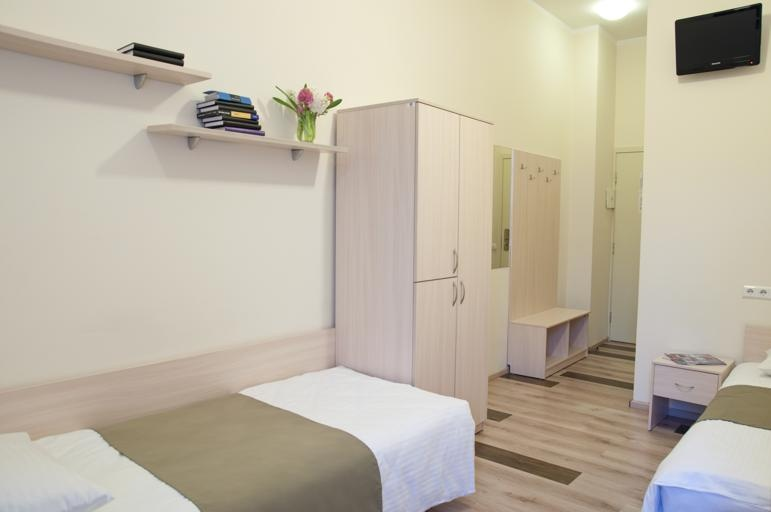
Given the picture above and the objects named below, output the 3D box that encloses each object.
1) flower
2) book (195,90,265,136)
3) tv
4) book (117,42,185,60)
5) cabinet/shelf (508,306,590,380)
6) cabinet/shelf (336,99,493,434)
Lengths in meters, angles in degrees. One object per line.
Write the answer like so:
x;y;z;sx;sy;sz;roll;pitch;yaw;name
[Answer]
-0.557;-0.999;3.516;0.460;0.383;0.212;1;9;-5;flower
-0.990;-0.832;3.168;0.277;0.254;0.390;-8;-7;42;book
2.769;-1.794;4.096;0.693;0.499;0.073;2;5;37;tv
-1.345;-1.169;2.822;0.231;0.046;0.223;-2;8;-31;book
1.863;0.954;5.676;0.437;0.580;1.144;10;12;42;cabinet/shelf
0.268;0.130;4.125;0.767;2.510;1.186;5;9;35;cabinet/shelf
